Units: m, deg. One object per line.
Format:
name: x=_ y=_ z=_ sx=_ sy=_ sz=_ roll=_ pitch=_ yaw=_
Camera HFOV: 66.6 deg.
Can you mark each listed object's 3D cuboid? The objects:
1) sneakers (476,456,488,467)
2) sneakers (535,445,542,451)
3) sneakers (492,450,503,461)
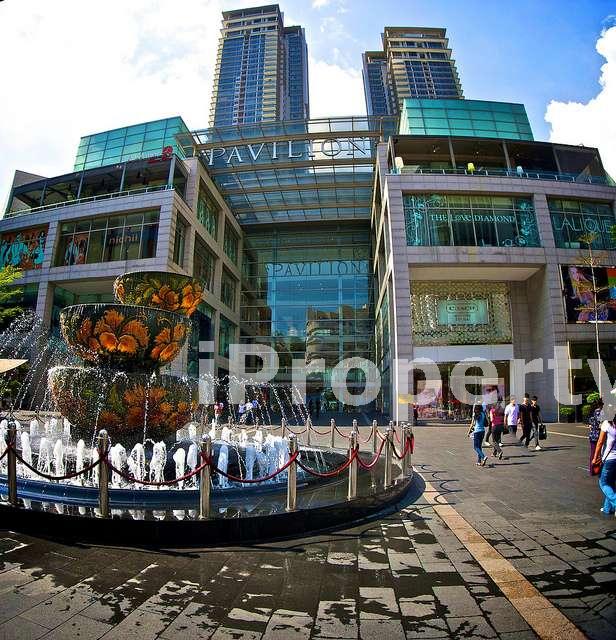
sneakers: x=3.802 y=3.115 z=10.456 sx=0.153 sy=0.250 sz=0.375 roll=-4 pitch=-29 yaw=15
sneakers: x=6.156 y=3.413 z=12.695 sx=0.121 sy=0.112 sz=0.218 roll=-7 pitch=-6 yaw=26
sneakers: x=4.538 y=3.198 z=11.309 sx=0.141 sy=0.165 sz=0.394 roll=-1 pitch=-18 yaw=6
